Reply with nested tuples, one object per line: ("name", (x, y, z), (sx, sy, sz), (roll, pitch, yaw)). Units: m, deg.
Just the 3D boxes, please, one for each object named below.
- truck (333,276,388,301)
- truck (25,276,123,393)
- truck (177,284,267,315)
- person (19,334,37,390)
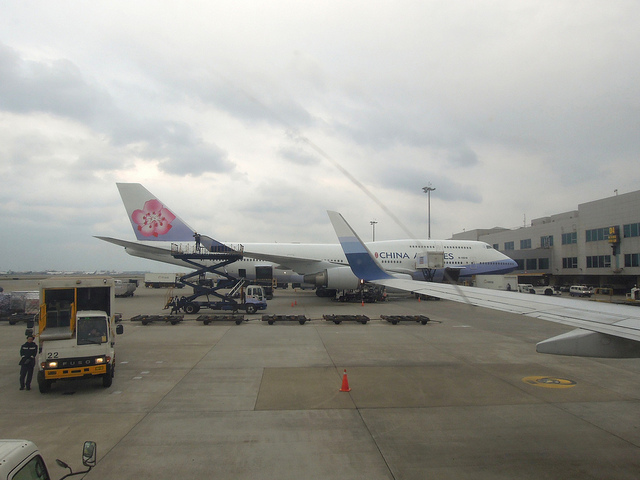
("truck", (3.330, 4.124, 38.637), (4.229, 1.566, 3.045), (-1, 0, -9))
("truck", (-8.726, 3.228, 18.353), (2.695, 2.809, 4.714), (1, -4, -16))
("truck", (-6.353, 3.885, 31.368), (5.766, 1.961, 2.039), (0, 0, -5))
("person", (-9.680, 4.106, 16.673), (0.480, 1.700, 0.683), (3, 10, 14))
